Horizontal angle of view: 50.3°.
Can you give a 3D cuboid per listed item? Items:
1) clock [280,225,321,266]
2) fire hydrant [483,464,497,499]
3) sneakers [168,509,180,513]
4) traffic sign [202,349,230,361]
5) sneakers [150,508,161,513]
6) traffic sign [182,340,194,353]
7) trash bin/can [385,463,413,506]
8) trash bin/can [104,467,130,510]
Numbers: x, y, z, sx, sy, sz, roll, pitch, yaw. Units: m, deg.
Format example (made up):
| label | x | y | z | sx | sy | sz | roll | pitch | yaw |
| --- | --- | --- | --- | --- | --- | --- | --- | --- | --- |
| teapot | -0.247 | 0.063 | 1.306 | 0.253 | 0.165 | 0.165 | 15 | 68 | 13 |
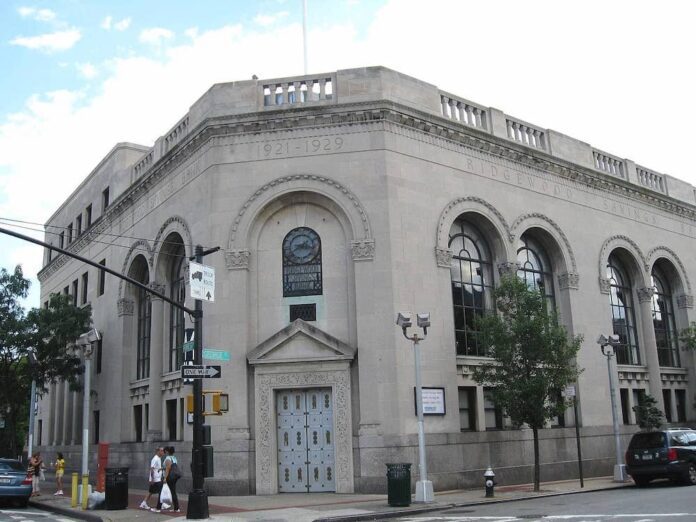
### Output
| label | x | y | z | sx | sy | sz | roll | pitch | yaw |
| --- | --- | --- | --- | --- | --- | --- | --- | --- | --- |
| clock | -2.049 | -0.634 | 33.171 | 1.657 | 1.983 | 0.164 | -2 | -21 | 3 |
| fire hydrant | 5.647 | 8.864 | 29.517 | 0.392 | 1.192 | 0.930 | -5 | -19 | 9 |
| sneakers | -6.546 | 9.406 | 27.838 | 0.417 | 0.193 | 0.145 | -3 | -21 | 21 |
| traffic sign | -4.666 | 3.270 | 26.418 | 0.733 | 0.457 | 1.165 | -5 | -20 | 8 |
| sneakers | -7.277 | 9.462 | 27.979 | 0.432 | 0.185 | 0.166 | -3 | -27 | 38 |
| traffic sign | -5.776 | 3.116 | 26.776 | 0.561 | 0.417 | 0.269 | -16 | -23 | 35 |
| trash bin/can | 1.922 | 8.369 | 27.607 | 0.824 | 1.538 | 0.453 | 0 | -18 | -4 |
| trash bin/can | -8.852 | 8.726 | 28.296 | 0.864 | 1.533 | 0.736 | 5 | -19 | -18 |
